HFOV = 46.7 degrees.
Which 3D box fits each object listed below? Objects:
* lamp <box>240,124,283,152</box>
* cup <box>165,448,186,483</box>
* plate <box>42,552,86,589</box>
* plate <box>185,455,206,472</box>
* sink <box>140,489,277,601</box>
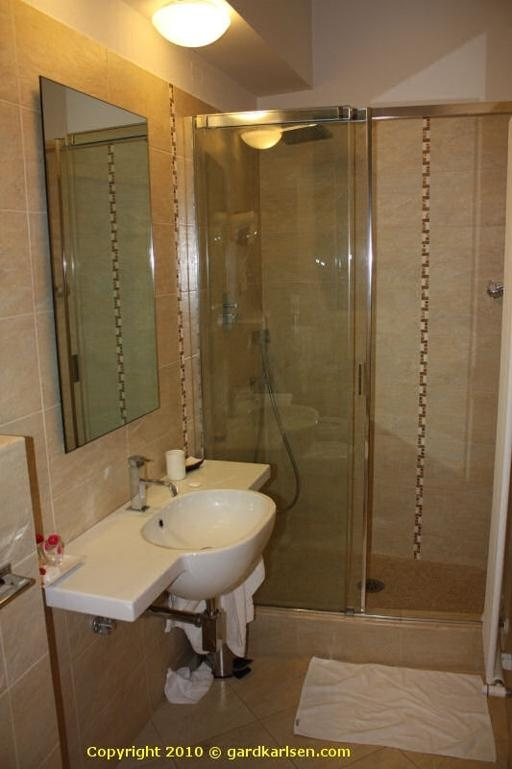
[{"bbox_3d":[0.022,-0.881,2.123,0.087,0.040,0.095,-2,-8,4],"label":"lamp"},{"bbox_3d":[-0.274,0.278,2.057,0.079,0.108,0.088,-1,5,2],"label":"cup"},{"bbox_3d":[-0.440,0.412,1.326,0.047,0.029,0.144,2,9,13],"label":"plate"},{"bbox_3d":[-0.228,0.292,2.174,0.064,0.030,0.133,-1,9,-5],"label":"plate"},{"bbox_3d":[-0.117,0.382,1.717,0.257,0.157,0.378,2,15,16],"label":"sink"}]
